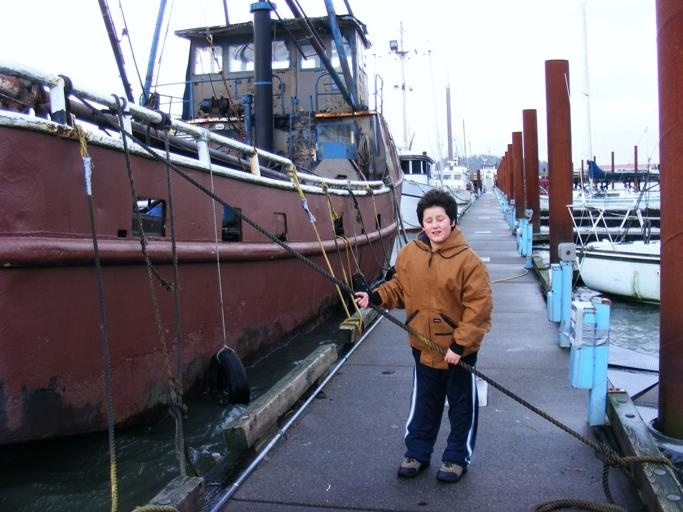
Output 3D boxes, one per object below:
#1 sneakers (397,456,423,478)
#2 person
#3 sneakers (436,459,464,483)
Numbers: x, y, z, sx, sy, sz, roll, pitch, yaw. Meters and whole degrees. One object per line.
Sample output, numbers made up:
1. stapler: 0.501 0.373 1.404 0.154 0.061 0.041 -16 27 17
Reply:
1. sneakers: 0.425 1.345 3.451 0.073 0.107 0.227 -5 -16 22
2. person: 0.567 0.493 3.410 0.707 1.808 0.370 2 8 19
3. sneakers: 0.668 1.344 3.382 0.078 0.106 0.220 -5 -16 28
